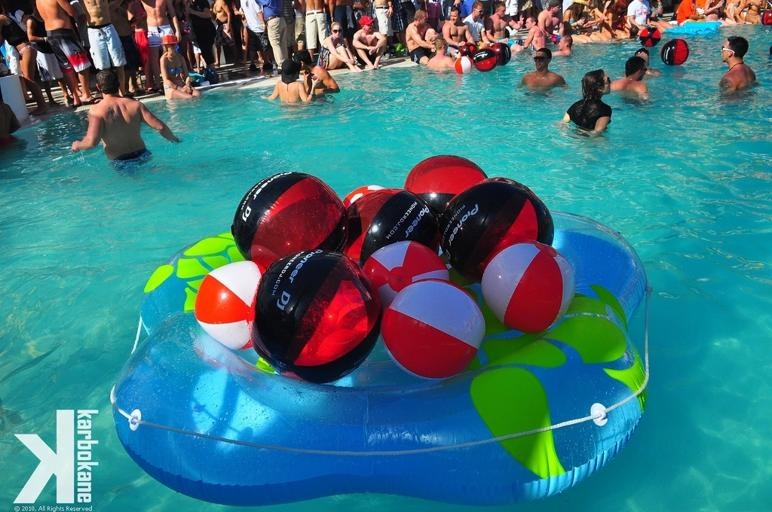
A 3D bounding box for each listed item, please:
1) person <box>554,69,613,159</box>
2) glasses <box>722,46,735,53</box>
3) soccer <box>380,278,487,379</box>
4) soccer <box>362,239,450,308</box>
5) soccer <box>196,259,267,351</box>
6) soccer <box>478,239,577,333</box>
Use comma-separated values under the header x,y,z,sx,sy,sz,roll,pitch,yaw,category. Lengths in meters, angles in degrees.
x,y,z,sx,sy,sz,roll,pitch,yaw,category
3.065,-2.331,7.981,0.731,0.936,0.787,5,26,20,person
6.168,-3.741,9.432,0.140,0.050,0.162,-4,39,-29,glasses
0.343,0.500,3.822,0.666,0.718,0.599,-2,-10,13,soccer
0.141,0.092,3.858,0.520,0.481,0.294,19,-19,11,soccer
-1.140,0.350,4.104,0.572,0.672,0.543,17,-5,-1,soccer
1.051,0.187,3.913,0.595,0.685,0.458,0,0,5,soccer
